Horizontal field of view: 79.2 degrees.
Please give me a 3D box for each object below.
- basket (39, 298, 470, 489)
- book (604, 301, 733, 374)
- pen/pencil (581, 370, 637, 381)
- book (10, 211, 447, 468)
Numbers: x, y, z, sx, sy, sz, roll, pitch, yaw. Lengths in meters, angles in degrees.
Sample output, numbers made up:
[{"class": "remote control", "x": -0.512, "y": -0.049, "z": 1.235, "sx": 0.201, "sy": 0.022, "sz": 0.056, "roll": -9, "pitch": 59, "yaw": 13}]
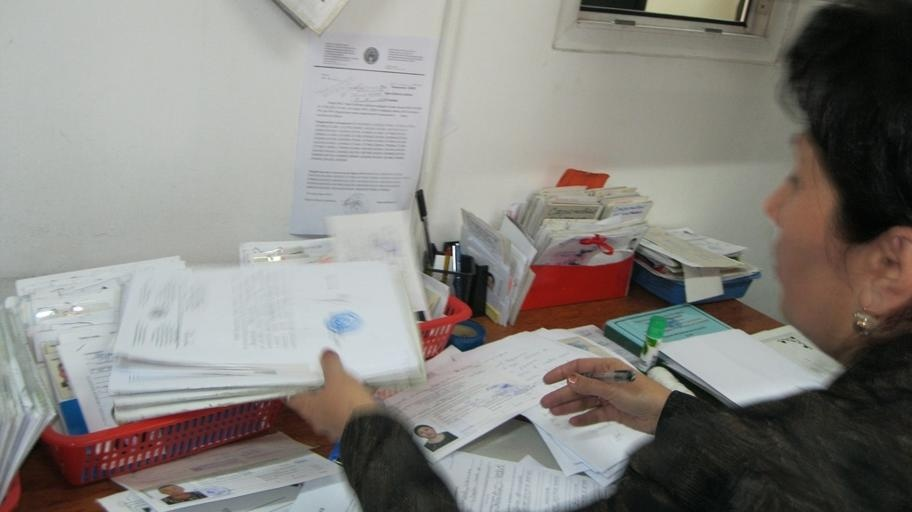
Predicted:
[{"class": "basket", "x": -0.439, "y": 0.262, "z": 1.222, "sx": 0.707, "sy": 0.105, "sz": 0.365, "roll": -14, "pitch": 30, "yaw": -33}, {"class": "book", "x": 0.629, "y": 0.216, "z": 1.631, "sx": 0.230, "sy": 0.046, "sz": 0.194, "roll": -9, "pitch": 17, "yaw": -21}, {"class": "pen/pencil", "x": 0.363, "y": 0.281, "z": 1.293, "sx": 0.086, "sy": 0.025, "sz": 0.018, "roll": -2, "pitch": 67, "yaw": 34}, {"class": "book", "x": -0.419, "y": 0.172, "z": 1.165, "sx": 0.589, "sy": 0.154, "sz": 0.491, "roll": -8, "pitch": 34, "yaw": -11}]
